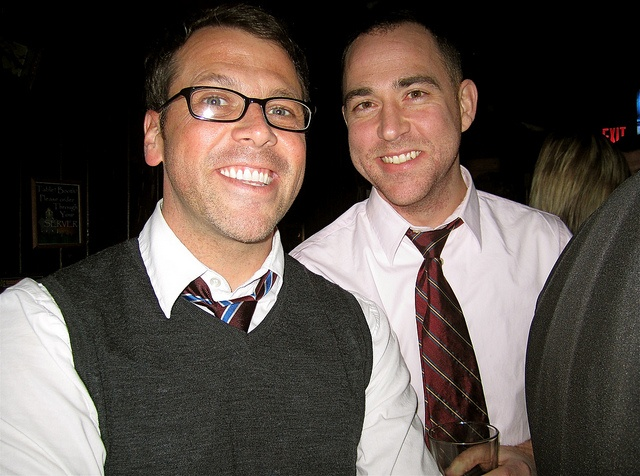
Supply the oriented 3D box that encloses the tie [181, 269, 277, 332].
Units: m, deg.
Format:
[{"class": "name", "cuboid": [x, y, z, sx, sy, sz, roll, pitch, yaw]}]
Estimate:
[{"class": "tie", "cuboid": [-0.324, 0.238, 2.063, 0.367, 0.169, 0.202, -1, 16, -18]}]
